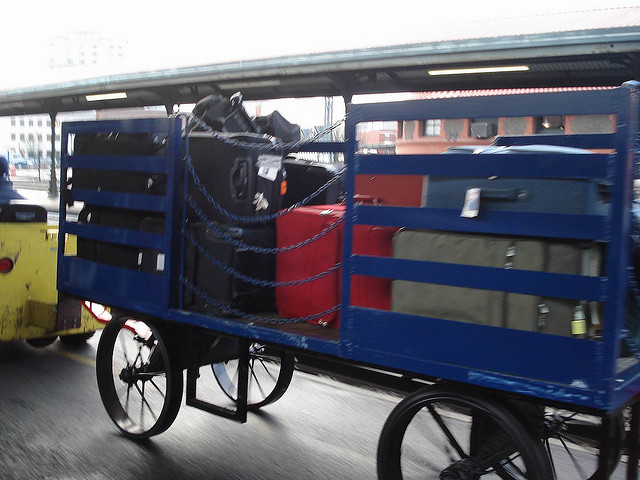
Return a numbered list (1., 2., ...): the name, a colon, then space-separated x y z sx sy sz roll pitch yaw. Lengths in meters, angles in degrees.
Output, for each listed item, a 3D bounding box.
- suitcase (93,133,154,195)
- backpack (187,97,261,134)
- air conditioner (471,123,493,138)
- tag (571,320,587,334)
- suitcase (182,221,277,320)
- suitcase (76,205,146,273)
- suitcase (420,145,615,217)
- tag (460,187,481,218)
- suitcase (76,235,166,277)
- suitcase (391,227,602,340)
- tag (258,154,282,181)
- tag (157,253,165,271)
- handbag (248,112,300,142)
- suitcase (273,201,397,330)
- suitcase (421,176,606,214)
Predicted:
1. suitcase: -1.457 -0.563 3.458 0.585 0.480 0.133 10 11 31
2. backpack: -0.784 -1.058 3.975 0.161 0.296 0.636 8 8 40
3. air conditioner: 1.106 -0.729 3.164 0.154 0.080 0.140 0 11 -2
4. tag: 1.107 0.377 1.987 0.063 0.040 0.058 1 0 -3
5. suitcase: -0.682 0.097 3.317 0.490 0.519 0.617 6 -5 -43
6. suitcase: -1.671 -0.023 3.636 0.609 0.571 0.147 12 15 33
7. suitcase: 0.904 -0.210 2.114 0.564 0.172 0.522 1 6 -13
8. tag: 0.691 -0.175 2.135 0.095 0.143 0.021 0 9 0
9. suitcase: -1.492 0.118 3.533 0.484 0.108 0.498 12 2 29
10. suitcase: 0.595 0.193 2.393 0.983 0.411 0.517 7 -2 -28
11. tag: -0.348 -0.520 3.263 0.192 0.173 0.043 11 -10 -3
12. tag: -1.122 0.161 3.287 0.073 0.119 0.010 8 8 37
13. handbag: -0.424 -1.123 4.623 0.402 0.204 0.386 -10 39 -45
14. suitcase: 0.252 0.127 3.424 1.085 0.885 0.589 4 -19 -38
15. suitcase: 0.850 -0.206 2.098 0.768 0.154 0.118 5 6 27
